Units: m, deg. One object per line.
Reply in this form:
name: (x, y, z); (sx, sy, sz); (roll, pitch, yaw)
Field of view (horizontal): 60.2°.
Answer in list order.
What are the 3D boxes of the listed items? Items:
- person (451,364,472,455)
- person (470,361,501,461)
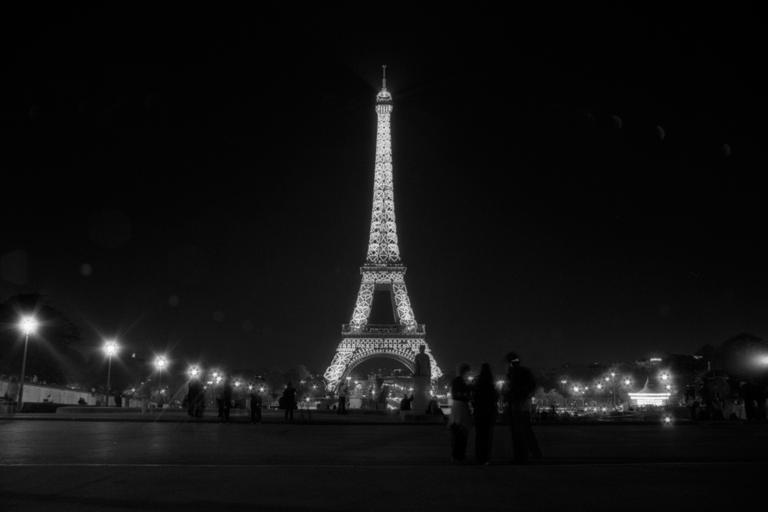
person: (1.852, 3.790, 16.161); (0.506, 2.301, 0.656); (-1, -16, 6)
person: (2.427, 3.766, 15.922); (0.607, 2.307, 1.290); (-2, -16, 8)
